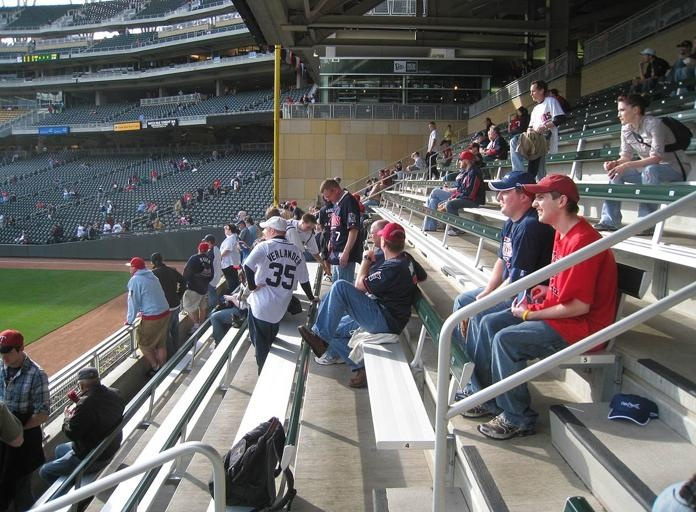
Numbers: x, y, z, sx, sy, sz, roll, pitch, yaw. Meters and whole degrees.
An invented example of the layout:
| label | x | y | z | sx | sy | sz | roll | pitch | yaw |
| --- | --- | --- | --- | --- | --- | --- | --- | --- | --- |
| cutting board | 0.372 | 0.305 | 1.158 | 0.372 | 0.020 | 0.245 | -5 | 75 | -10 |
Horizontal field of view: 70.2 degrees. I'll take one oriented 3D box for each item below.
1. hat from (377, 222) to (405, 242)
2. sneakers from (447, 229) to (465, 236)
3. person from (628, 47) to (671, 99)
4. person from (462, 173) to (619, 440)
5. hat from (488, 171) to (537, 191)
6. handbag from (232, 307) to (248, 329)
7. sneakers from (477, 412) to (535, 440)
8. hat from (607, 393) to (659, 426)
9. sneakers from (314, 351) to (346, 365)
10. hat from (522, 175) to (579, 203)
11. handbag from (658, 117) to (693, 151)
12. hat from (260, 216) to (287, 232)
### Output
| label | x | y | z | sx | sy | sz | roll | pitch | yaw |
| --- | --- | --- | --- | --- | --- | --- | --- | --- | --- |
| hat | 0.375 | -0.231 | 4.466 | 0.216 | 0.136 | 0.274 | -5 | 10 | -12 |
| sneakers | 1.660 | -0.372 | 7.746 | 0.308 | 0.137 | 0.141 | -1 | 12 | 0 |
| person | 5.394 | -3.217 | 8.838 | 0.662 | 0.861 | 0.487 | -17 | 4 | -32 |
| person | 1.253 | 0.296 | 3.196 | 0.967 | 1.603 | 0.473 | -5 | 11 | -12 |
| hat | 1.242 | -0.571 | 3.769 | 0.285 | 0.108 | 0.181 | -4 | 13 | 7 |
| handbag | -1.630 | 0.913 | 7.309 | 0.300 | 0.293 | 0.225 | 3 | -2 | 8 |
| sneakers | 0.992 | 1.078 | 3.194 | 0.372 | 0.178 | 0.136 | 2 | -3 | 3 |
| hat | 1.642 | 0.871 | 2.849 | 0.261 | 0.129 | 0.169 | 2 | 11 | 25 |
| sneakers | -0.211 | 1.058 | 5.159 | 0.307 | 0.131 | 0.141 | -2 | 1 | -4 |
| hat | 1.334 | -0.443 | 3.282 | 0.291 | 0.140 | 0.186 | 9 | 6 | 9 |
| handbag | 2.884 | -1.078 | 4.363 | 0.230 | 0.310 | 0.248 | 3 | 12 | 28 |
| hat | -0.875 | -0.371 | 5.560 | 0.245 | 0.100 | 0.162 | 10 | 15 | 40 |
